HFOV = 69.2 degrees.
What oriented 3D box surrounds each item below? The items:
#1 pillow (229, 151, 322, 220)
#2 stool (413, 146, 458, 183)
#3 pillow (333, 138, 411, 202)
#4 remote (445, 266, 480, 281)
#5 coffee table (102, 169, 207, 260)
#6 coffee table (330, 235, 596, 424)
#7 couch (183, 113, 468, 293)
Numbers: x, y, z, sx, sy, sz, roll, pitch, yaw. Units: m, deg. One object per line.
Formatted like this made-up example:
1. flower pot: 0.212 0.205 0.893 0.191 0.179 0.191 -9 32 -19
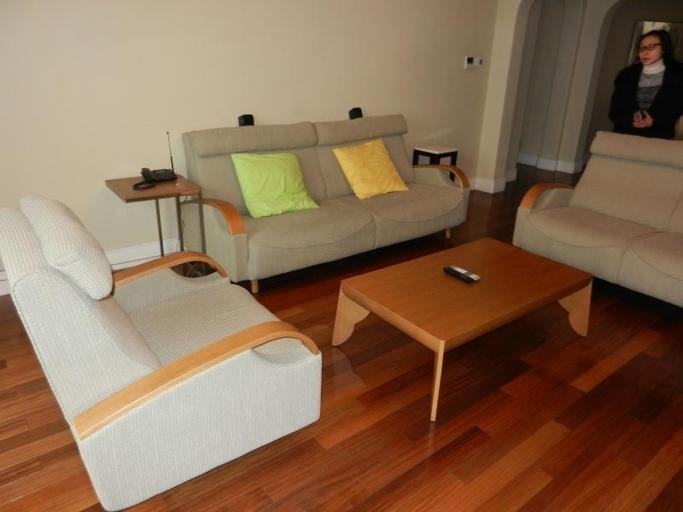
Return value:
1. pillow: -0.544 -0.564 3.921 0.613 0.541 0.182 -14 -8 -40
2. stool: 0.959 -0.954 5.129 0.362 0.469 0.338 -22 39 -36
3. pillow: 0.238 -0.772 4.462 0.630 0.561 0.182 -17 -12 -36
4. remote: 0.745 0.103 3.068 0.170 0.042 0.093 23 29 35
5. coffee table: -1.303 -0.236 3.750 0.672 0.671 0.725 -14 29 -31
6. coffee table: 0.720 0.662 3.124 1.508 0.419 0.953 -18 31 -33
7. couch: -0.199 -0.412 3.942 1.559 0.658 0.674 -17 33 -32
